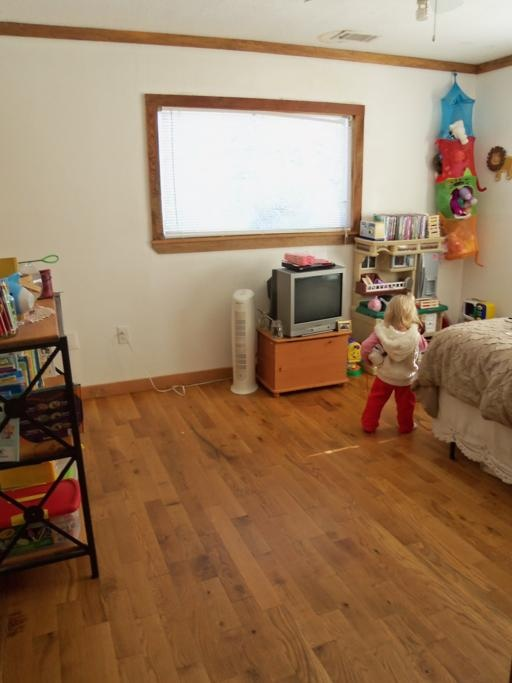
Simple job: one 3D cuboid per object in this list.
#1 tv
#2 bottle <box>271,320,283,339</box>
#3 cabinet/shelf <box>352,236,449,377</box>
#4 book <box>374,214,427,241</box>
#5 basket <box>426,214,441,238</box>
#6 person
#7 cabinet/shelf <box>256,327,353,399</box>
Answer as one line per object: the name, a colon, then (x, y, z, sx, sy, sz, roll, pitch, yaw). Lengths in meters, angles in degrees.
tv: (0.344, -0.329, 3.817, 0.481, 0.469, 0.406, -14, 23, -33)
bottle: (0.148, -0.093, 3.691, 0.090, 0.104, 0.129, -1, 14, 3)
cabinet/shelf: (1.185, -0.364, 4.331, 0.802, 0.931, 0.320, -6, 15, -25)
book: (1.128, -0.917, 4.198, 0.518, 0.201, 0.201, -9, 15, -28)
basket: (1.458, -0.935, 4.274, 0.084, 0.181, 0.192, 11, 18, 41)
person: (0.826, 0.138, 3.086, 0.389, 0.844, 0.316, -4, 24, -8)
cabinet/shelf: (0.337, 0.127, 3.912, 0.590, 0.434, 0.367, -5, 15, -18)
